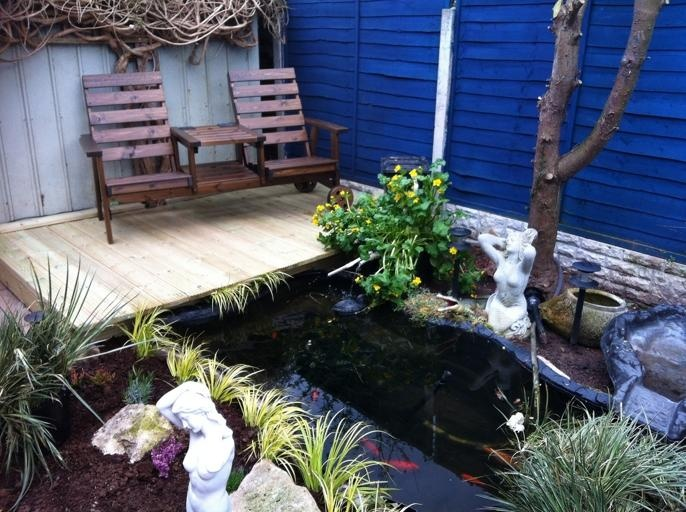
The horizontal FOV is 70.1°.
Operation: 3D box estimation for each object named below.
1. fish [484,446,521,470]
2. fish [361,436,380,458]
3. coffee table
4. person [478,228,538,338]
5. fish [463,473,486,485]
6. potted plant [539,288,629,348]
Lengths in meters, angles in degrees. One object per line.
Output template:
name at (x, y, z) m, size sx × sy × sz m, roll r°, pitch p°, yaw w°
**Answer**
fish at (0.876, 1.108, 2.735) m, size 0.225 × 0.069 × 0.060 m, roll 9°, pitch 42°, yaw 43°
fish at (0.164, 1.091, 2.792) m, size 0.078 × 0.020 × 0.145 m, roll -7°, pitch 20°, yaw -20°
coffee table at (-1.324, -0.922, 5.163) m, size 0.974 × 0.541 × 0.960 m, roll -11°, pitch 30°, yaw -23°
person at (1.204, 0.184, 3.587) m, size 0.308 × 0.787 × 0.405 m, roll -5°, pitch 23°, yaw -11°
fish at (0.698, 1.194, 2.616) m, size 0.120 × 0.011 × 0.054 m, roll 10°, pitch 21°, yaw 27°
potted plant at (1.778, 0.437, 3.694) m, size 0.505 × 0.245 × 0.513 m, roll -12°, pitch 19°, yaw -37°
